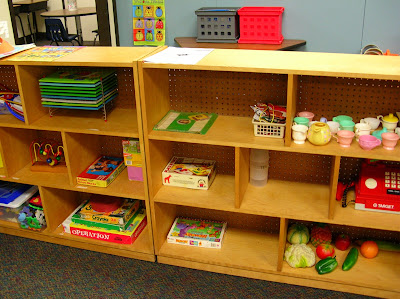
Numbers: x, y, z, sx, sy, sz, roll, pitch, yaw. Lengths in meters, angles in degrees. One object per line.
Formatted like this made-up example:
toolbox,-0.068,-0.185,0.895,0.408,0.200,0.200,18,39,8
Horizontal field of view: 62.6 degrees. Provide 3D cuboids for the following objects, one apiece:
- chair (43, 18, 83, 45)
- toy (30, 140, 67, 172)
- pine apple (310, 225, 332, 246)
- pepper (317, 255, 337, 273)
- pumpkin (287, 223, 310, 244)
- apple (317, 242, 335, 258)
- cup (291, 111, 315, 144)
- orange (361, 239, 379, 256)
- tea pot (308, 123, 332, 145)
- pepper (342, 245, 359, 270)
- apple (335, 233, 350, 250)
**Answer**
chair,-2.742,-2.329,6.480,0.604,0.534,0.430,3,28,5
toy,-1.248,0.061,2.716,0.236,0.155,0.094,6,23,6
pine apple,0.886,0.612,2.459,0.135,0.156,0.138,7,12,40
pepper,0.858,0.791,2.248,0.145,0.042,0.081,-18,41,-25
pumpkin,0.732,0.610,2.499,0.147,0.148,0.151,1,13,2
apple,0.876,0.712,2.311,0.105,0.103,0.106,3,0,1
cup,0.615,-0.153,2.056,0.144,0.149,0.223,-3,39,9
orange,1.199,0.714,2.357,0.109,0.109,0.108,-16,55,24
tea pot,0.694,-0.094,1.920,0.144,0.102,0.111,-12,11,-41
pepper,1.062,0.745,2.321,0.073,0.063,0.215,11,32,33
apple,1.040,0.675,2.453,0.106,0.098,0.108,21,37,40
